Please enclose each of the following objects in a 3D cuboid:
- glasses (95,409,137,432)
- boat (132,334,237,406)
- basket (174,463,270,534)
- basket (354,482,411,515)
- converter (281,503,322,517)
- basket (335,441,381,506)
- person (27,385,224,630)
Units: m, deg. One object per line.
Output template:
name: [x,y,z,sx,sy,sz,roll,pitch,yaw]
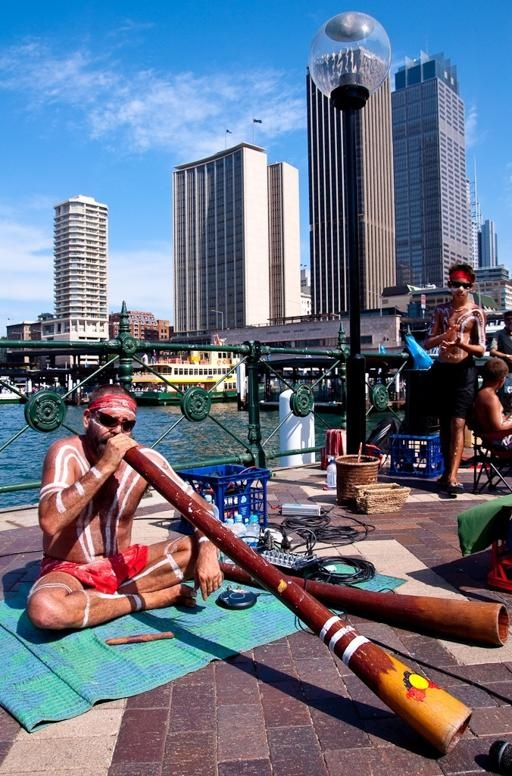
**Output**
glasses: [-0.638,0.157,3.367,0.177,0.105,0.095,-2,5,-28]
boat: [-7.275,-1.671,85.164,5.586,6.210,17.458,1,1,31]
basket: [-0.260,0.738,5.200,0.522,0.329,0.511,3,-7,-40]
basket: [0.980,0.861,5.848,0.339,0.158,0.231,-2,-1,-17]
converter: [0.347,0.955,5.760,0.196,0.044,0.099,1,-30,14]
basket: [0.799,0.741,6.129,0.421,0.556,0.397,0,-4,-6]
person: [-0.737,0.453,3.806,0.973,1.200,1.274,1,0,42]
